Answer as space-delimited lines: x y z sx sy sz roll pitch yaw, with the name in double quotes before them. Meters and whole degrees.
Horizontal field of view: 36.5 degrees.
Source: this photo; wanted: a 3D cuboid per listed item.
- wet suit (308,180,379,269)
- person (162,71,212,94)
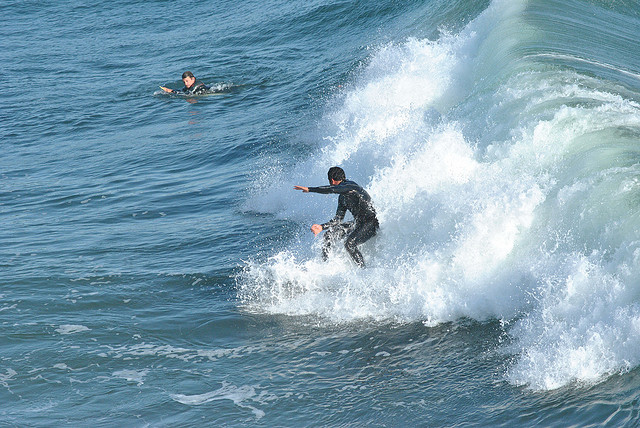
"wet suit" 0.618 0.156 20.193 1.107 1.784 0.802 8 29 15
"person" -4.087 -4.177 30.733 1.428 0.832 0.676 15 31 29
